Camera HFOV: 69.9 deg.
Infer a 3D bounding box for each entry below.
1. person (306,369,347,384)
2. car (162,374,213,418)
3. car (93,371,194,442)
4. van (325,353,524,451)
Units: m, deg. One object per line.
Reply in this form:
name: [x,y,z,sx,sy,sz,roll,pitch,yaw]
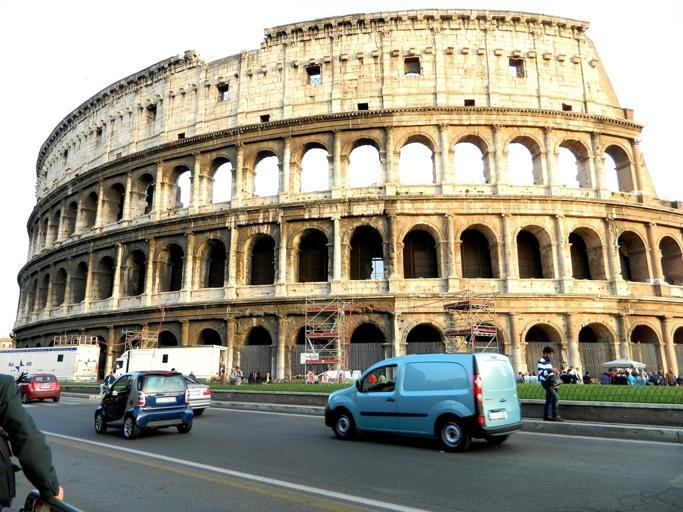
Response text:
person: [-0.839,7.446,30.000,1.716,0.499,1.216,-6,-8,32]
car: [-5.719,5.683,19.510,1.568,1.188,3.329,3,-5,-39]
car: [-5.857,4.340,14.335,2.454,1.877,1.415,-3,-9,13]
van: [2.139,3.665,13.374,4.524,1.936,2.487,-5,-16,36]
